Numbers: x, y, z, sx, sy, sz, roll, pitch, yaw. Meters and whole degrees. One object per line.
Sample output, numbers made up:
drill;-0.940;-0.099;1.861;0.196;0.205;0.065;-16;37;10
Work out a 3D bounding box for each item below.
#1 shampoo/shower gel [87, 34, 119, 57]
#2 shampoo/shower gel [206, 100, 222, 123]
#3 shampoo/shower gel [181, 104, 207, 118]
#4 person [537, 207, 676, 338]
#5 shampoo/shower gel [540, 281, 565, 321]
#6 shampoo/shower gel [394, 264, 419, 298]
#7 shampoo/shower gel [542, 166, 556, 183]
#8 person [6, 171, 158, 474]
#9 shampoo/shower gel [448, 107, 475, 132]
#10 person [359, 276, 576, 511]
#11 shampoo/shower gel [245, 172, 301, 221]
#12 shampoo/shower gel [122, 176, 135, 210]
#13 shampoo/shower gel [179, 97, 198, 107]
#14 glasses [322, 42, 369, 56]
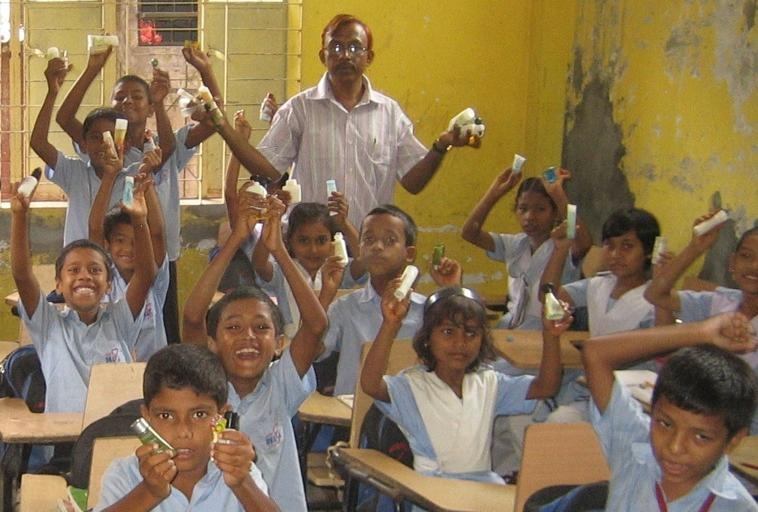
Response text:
shampoo/shower gel;-1.715;-1.315;6.368;0.173;0.127;0.097;0;7;-13
shampoo/shower gel;-0.944;-0.829;5.885;0.050;0.120;0.160;4;7;26
shampoo/shower gel;-1.077;-0.855;5.988;0.054;0.081;0.077;39;18;30
person;1.284;0.104;5.762;0.337;0.908;0.483;25;-29;-34
shampoo/shower gel;0.854;0.215;5.014;0.106;0.154;0.302;2;6;8
shampoo/shower gel;0.133;0.121;5.169;0.052;0.060;0.205;-38;6;21
shampoo/shower gel;1.028;-0.512;6.203;0.077;0.087;0.086;21;-24;-17
person;-1.632;0.464;5.648;0.711;1.871;0.416;1;26;-17
shampoo/shower gel;0.501;-0.810;6.051;0.164;0.133;0.185;-1;7;-21
person;0.413;0.711;5.028;0.883;1.497;0.449;4;-26;-12
shampoo/shower gel;-0.587;-0.363;5.947;0.186;0.336;0.329;1;-2;9
shampoo/shower gel;-1.346;-0.337;5.521;0.063;0.060;0.243;-1;20;-8
shampoo/shower gel;-1.133;-0.918;6.128;0.084;0.080;0.021;17;-10;2
glasses;-0.192;-1.231;6.060;0.225;0.076;0.065;1;6;-4
